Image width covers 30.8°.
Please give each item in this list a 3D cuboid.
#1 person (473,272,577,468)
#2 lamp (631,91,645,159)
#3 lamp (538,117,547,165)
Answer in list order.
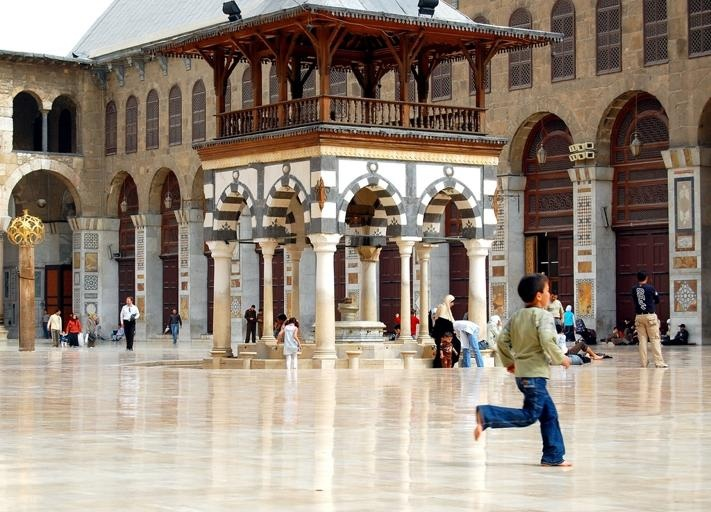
[{"bbox_3d":[1.816,1.214,14.049,1.023,2.058,0.966,-2,-5,13],"label":"person"},{"bbox_3d":[7.683,-3.609,35.578,0.341,1.680,0.939,-2,-5,12],"label":"lamp"},{"bbox_3d":[5.444,-3.275,37.928,0.308,1.071,1.109,-2,-5,8],"label":"lamp"}]
